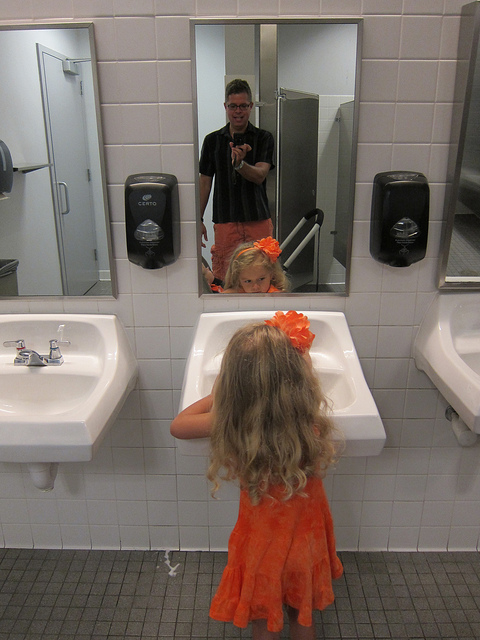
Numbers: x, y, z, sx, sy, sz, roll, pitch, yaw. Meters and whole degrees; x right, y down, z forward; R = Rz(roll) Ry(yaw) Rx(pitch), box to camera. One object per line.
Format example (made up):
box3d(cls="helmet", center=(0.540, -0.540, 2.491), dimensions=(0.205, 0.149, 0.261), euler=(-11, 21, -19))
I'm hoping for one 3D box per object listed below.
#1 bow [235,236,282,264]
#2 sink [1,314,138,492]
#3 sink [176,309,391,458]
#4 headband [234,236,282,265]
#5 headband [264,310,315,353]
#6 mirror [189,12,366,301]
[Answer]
box3d(cls="bow", center=(0.068, -0.207, 1.445), dimensions=(0.094, 0.059, 0.063), euler=(-19, -5, -7))
box3d(cls="sink", center=(-0.469, 0.199, 1.368), dimensions=(0.363, 0.450, 0.481), euler=(1, 20, -3))
box3d(cls="sink", center=(0.187, 0.137, 1.294), dimensions=(0.417, 0.204, 0.503), euler=(-1, 41, 2))
box3d(cls="headband", center=(0.076, -0.209, 1.444), dimensions=(0.083, 0.047, 0.057), euler=(-25, 29, 14))
box3d(cls="headband", center=(0.118, 0.030, 1.087), dimensions=(0.103, 0.093, 0.131), euler=(-2, 11, -10))
box3d(cls="mirror", center=(0.101, -0.415, 1.379), dimensions=(0.475, 0.752, 0.145), euler=(0, 10, -1))
